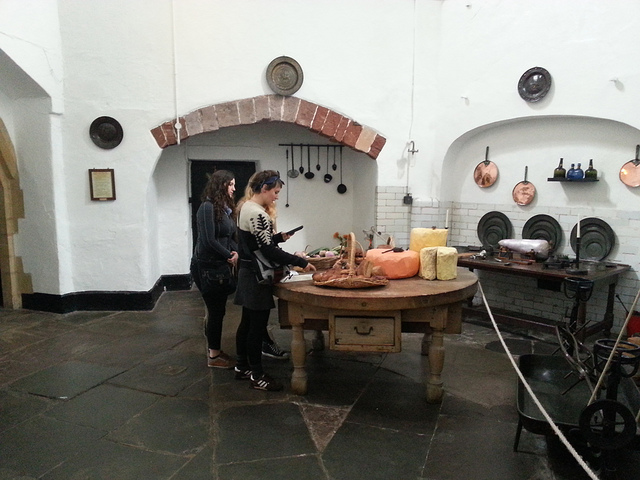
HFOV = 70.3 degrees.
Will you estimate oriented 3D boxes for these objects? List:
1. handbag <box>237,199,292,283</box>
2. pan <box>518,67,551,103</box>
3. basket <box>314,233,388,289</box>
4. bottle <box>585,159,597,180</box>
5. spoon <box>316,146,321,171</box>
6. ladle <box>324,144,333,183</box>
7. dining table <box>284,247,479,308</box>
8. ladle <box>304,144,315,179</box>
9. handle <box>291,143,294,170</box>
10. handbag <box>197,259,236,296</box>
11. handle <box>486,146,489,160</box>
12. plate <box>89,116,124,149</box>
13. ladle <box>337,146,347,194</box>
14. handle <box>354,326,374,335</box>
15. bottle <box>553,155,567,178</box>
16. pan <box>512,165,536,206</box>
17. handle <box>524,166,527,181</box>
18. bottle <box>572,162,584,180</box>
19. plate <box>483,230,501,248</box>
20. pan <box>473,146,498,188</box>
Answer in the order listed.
[{"bbox_3d":[-0.576,0.047,4.175,0.497,0.707,0.242,-28,10,-41],"label":"handbag"},{"bbox_3d":[2.770,-1.996,5.865,0.092,0.390,0.399,-6,17,-38],"label":"pan"},{"bbox_3d":[0.279,0.188,4.038,0.513,0.354,0.523,-1,1,2],"label":"basket"},{"bbox_3d":[3.379,-0.876,5.643,0.135,0.240,0.156,6,14,24],"label":"bottle"},{"bbox_3d":[-0.032,-1.377,7.686,0.050,0.407,0.072,9,16,34],"label":"spoon"},{"bbox_3d":[0.131,-1.287,7.696,0.107,0.627,0.115,11,17,38],"label":"ladle"},{"bbox_3d":[0.534,0.296,4.123,1.716,0.463,0.903,-1,13,-6],"label":"dining table"},{"bbox_3d":[-0.195,-1.308,7.662,0.156,0.552,0.066,-6,15,-24],"label":"ladle"},{"bbox_3d":[-0.468,-1.405,7.630,0.031,0.432,0.062,-6,15,-25],"label":"handle"},{"bbox_3d":[-1.057,0.334,4.571,0.359,0.418,0.233,-5,-4,-30],"label":"handbag"},{"bbox_3d":[2.393,-1.252,6.505,0.038,0.176,0.032,5,14,20],"label":"handle"},{"bbox_3d":[-2.880,-1.446,6.098,0.412,0.418,0.081,0,13,-2],"label":"plate"},{"bbox_3d":[0.376,-1.192,7.733,0.139,0.765,0.135,1,13,3],"label":"ladle"},{"bbox_3d":[0.366,0.775,3.861,0.154,0.066,0.025,1,13,2],"label":"handle"},{"bbox_3d":[3.112,-0.952,5.869,0.159,0.281,0.224,6,14,24],"label":"bottle"},{"bbox_3d":[2.755,-0.738,6.173,0.062,0.467,0.268,-4,11,-28],"label":"pan"},{"bbox_3d":[2.806,-0.906,6.197,0.040,0.176,0.046,9,16,31],"label":"handle"},{"bbox_3d":[3.267,-0.871,5.729,0.126,0.201,0.212,8,15,30],"label":"bottle"},{"bbox_3d":[2.407,-0.004,6.483,0.211,0.218,0.049,-2,-1,41],"label":"plate"},{"bbox_3d":[2.382,-1.064,6.511,0.320,0.541,0.074,-10,47,8],"label":"pan"}]
